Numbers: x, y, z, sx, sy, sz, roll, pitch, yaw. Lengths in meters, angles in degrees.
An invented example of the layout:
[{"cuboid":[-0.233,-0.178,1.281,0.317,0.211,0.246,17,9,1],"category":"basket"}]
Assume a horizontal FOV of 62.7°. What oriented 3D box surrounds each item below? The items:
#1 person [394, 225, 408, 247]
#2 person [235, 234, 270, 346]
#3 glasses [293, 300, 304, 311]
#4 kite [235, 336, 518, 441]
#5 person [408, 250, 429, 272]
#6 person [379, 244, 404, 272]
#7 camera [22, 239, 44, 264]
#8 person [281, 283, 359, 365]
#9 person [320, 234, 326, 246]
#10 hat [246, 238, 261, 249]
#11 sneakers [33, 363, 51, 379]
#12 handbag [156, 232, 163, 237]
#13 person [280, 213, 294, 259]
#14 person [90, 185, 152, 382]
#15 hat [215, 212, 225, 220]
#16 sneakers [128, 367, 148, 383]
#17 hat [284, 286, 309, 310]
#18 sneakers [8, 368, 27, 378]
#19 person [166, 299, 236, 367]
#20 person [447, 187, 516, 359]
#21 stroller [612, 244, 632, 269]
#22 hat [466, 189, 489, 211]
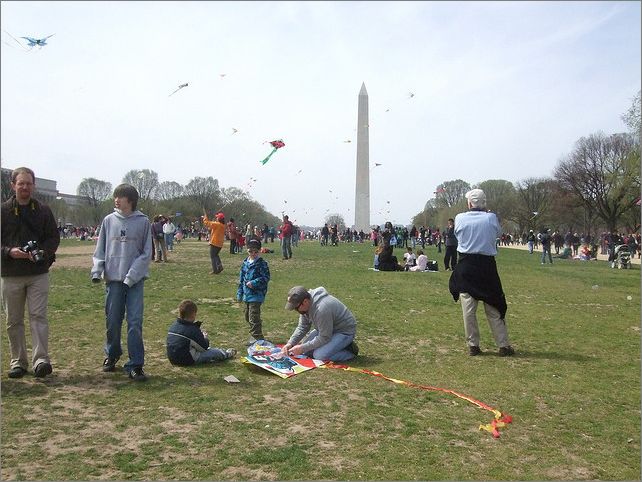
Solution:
[{"cuboid":[6.427,-0.403,42.220,1.076,1.117,3.241,11,10,7],"category":"person"},{"cuboid":[-1.144,0.863,9.018,0.496,1.726,0.755,0,7,-10],"category":"person"},{"cuboid":[-0.339,0.980,8.024,0.152,0.120,0.254,11,2,36],"category":"glasses"},{"cuboid":[0.492,1.494,7.345,4.261,0.385,1.235,5,16,33],"category":"kite"},{"cuboid":[3.991,0.885,21.532,0.766,1.023,0.835,4,4,31],"category":"person"},{"cuboid":[2.677,0.652,21.359,0.791,1.142,1.056,6,11,40],"category":"person"},{"cuboid":[-3.820,0.137,7.089,0.271,0.286,0.165,-42,-13,35],"category":"camera"},{"cuboid":[-0.035,1.347,8.493,1.250,1.335,0.890,-8,3,-24],"category":"person"},{"cuboid":[0.292,-0.110,47.719,0.345,1.059,1.206,0,8,-10],"category":"person"},{"cuboid":[-1.153,0.025,9.118,0.189,0.260,0.243,2,-33,-2],"category":"hat"},{"cuboid":[-3.708,1.717,7.031,0.226,0.212,0.201,-3,9,-31],"category":"sneakers"},{"cuboid":[-6.208,-0.225,20.348,0.120,0.181,0.175,0,-5,-15],"category":"handbag"},{"cuboid":[-1.660,-0.180,25.204,0.622,2.000,0.626,6,5,4],"category":"person"},{"cuboid":[-2.768,0.538,7.362,0.764,2.624,1.027,-1,8,-22],"category":"person"},{"cuboid":[-3.368,-0.782,17.841,0.331,0.189,0.247,19,17,-32],"category":"hat"},{"cuboid":[-2.452,1.804,7.108,0.295,0.129,0.124,11,10,42],"category":"sneakers"},{"cuboid":[-0.381,0.890,8.098,0.266,0.404,0.238,24,-28,36],"category":"hat"},{"cuboid":[-4.021,1.761,7.025,0.090,0.113,0.267,27,0,23],"category":"sneakers"},{"cuboid":[-1.896,1.422,8.179,0.771,1.043,1.038,0,-2,42],"category":"person"},{"cuboid":[2.769,0.507,9.056,1.005,2.750,1.177,3,8,14],"category":"person"},{"cuboid":[14.933,0.792,26.063,0.641,1.182,0.947,3,8,8],"category":"stroller"},{"cuboid":[2.757,-0.722,9.276,0.285,0.245,0.420,4,30,1],"category":"hat"}]
